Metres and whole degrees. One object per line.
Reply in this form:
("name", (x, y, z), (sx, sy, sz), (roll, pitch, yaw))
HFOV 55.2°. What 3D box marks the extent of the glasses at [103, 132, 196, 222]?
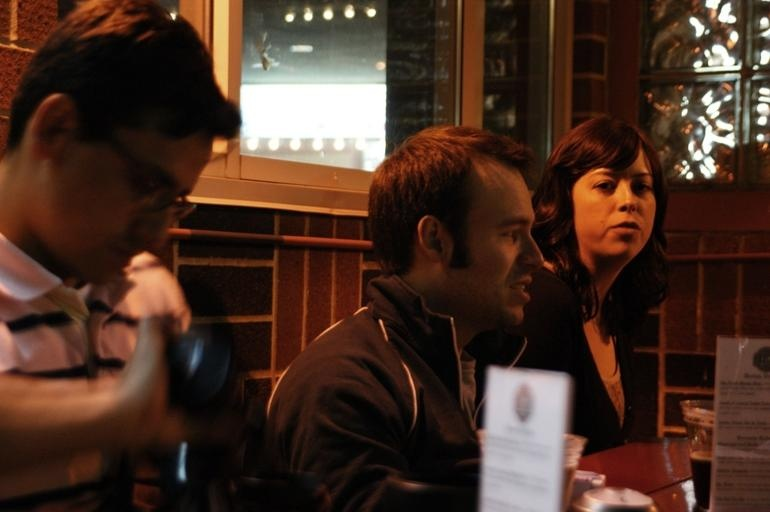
("glasses", (-0.174, -0.058, 0.576), (0.067, 0.025, 0.051), (32, 5, 14))
